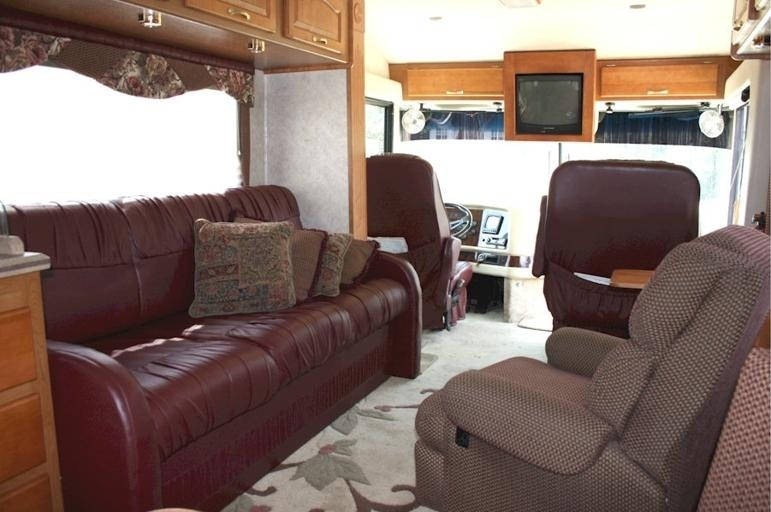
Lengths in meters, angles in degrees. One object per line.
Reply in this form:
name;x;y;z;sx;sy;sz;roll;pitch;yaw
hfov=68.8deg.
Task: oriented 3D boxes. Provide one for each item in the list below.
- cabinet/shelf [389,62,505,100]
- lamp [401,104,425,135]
cabinet/shelf;0.809;-2.006;6.666;1.355;0.405;0.382;-1;8;-3
lamp;0.299;-1.621;6.784;0.205;0.287;0.382;-4;15;-22
